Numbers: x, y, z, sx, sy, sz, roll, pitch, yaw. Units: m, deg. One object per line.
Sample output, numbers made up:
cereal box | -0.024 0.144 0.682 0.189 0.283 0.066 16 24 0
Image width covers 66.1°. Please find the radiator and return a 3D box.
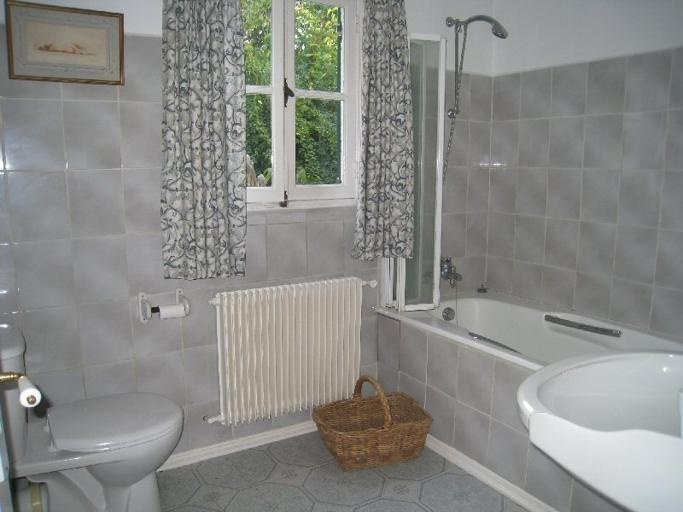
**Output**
radiator | -0.310 0.568 3.000 0.848 0.656 0.125 -3 6 -29

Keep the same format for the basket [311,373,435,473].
basket | 0.180 0.942 2.973 0.599 0.456 0.435 -2 4 -24

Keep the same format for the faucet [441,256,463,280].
faucet | 0.712 0.087 3.466 0.132 0.142 0.081 -3 11 -5
